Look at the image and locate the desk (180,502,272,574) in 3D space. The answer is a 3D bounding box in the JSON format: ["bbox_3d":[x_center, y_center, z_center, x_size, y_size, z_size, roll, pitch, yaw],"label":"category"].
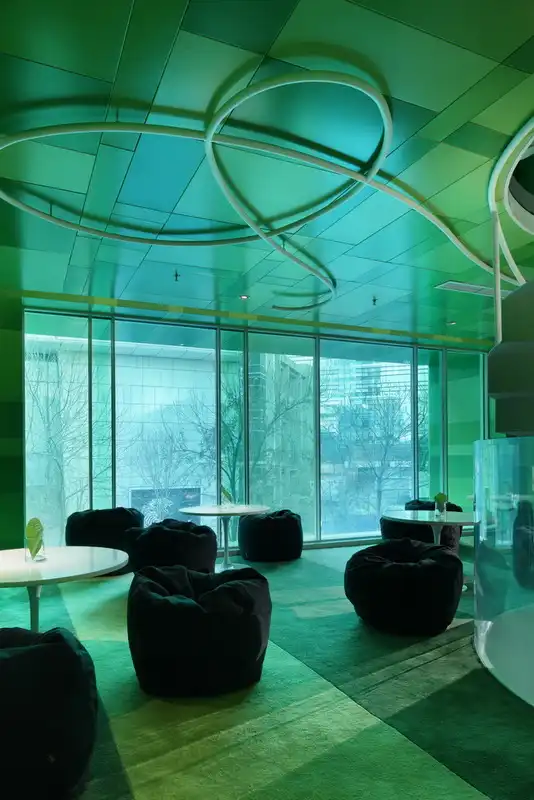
[{"bbox_3d":[-0.508,1.737,7.857,0.938,0.638,0.882,0,-13,-13],"label":"desk"}]

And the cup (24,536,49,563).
[{"bbox_3d":[-1.557,1.010,4.375,0.188,0.199,0.186,2,-2,0],"label":"cup"}]
